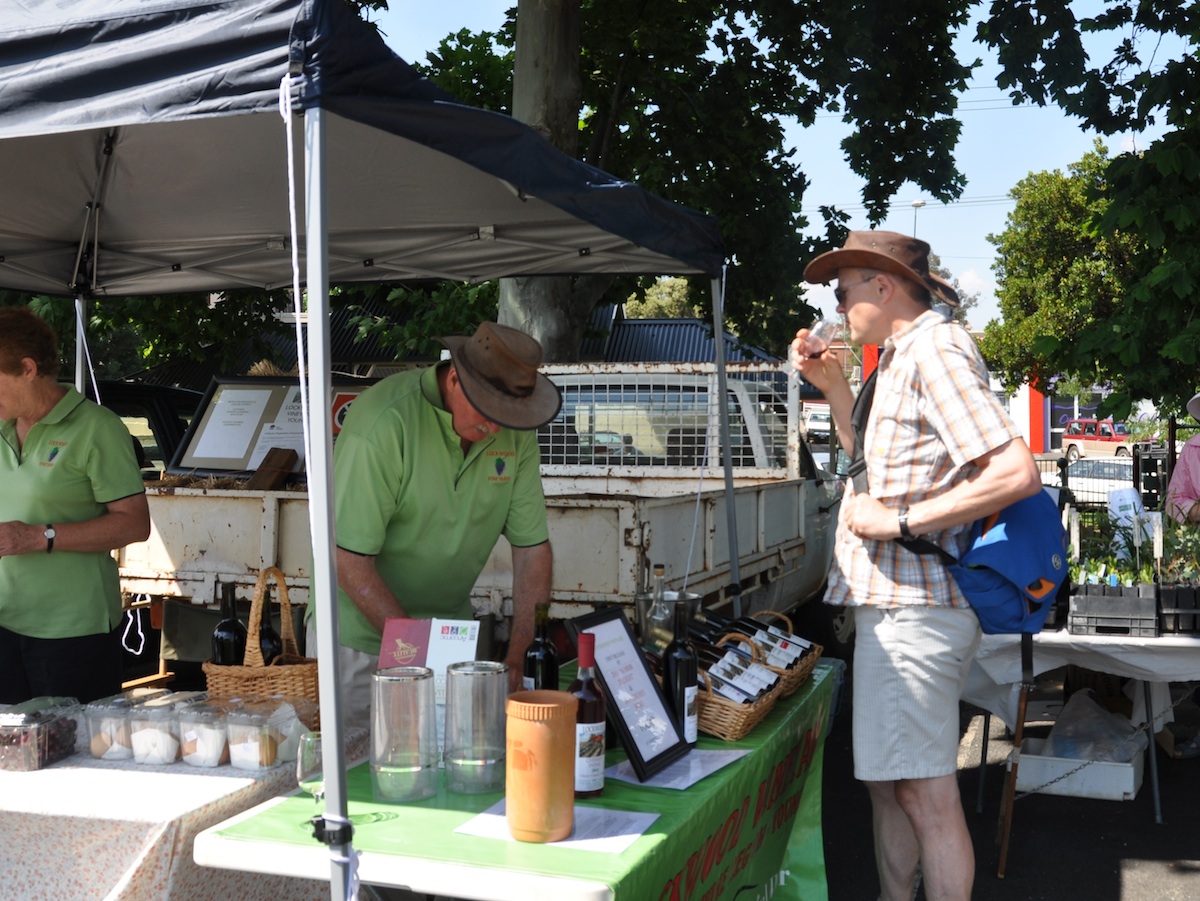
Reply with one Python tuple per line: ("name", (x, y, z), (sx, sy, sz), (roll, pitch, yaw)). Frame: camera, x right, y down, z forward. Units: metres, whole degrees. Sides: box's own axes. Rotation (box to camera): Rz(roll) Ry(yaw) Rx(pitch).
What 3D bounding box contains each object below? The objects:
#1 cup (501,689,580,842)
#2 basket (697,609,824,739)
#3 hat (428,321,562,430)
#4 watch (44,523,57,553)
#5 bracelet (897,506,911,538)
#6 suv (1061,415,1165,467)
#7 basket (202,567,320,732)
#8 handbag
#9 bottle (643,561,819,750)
("cup", (-0.176, 0.906, 3.778), (0.204, 0.424, 0.182), (-1, -4, -4))
("basket", (0.516, 0.801, 4.695), (0.289, 0.181, 0.471), (1, 5, 21))
("hat", (-0.335, -0.271, 4.825), (0.404, 0.377, 0.271), (0, -5, -20))
("watch", (-2.132, 0.331, 5.065), (0.053, 0.085, 0.075), (4, -11, -30))
("bracelet", (1.065, 0.251, 4.586), (0.044, 0.090, 0.052), (-3, -5, 19))
("suv", (10.690, -0.188, 27.438), (1.274, 1.241, 2.640), (-2, 0, -36))
("basket", (-1.127, 0.676, 4.637), (0.517, 0.556, 0.389), (1, -6, 30))
("handbag", (1.428, 0.385, 4.644), (0.395, 0.402, 0.211), (-15, -2, -25))
("bottle", (0.478, 0.746, 4.751), (0.448, 0.263, 0.590), (4, 5, 23))
